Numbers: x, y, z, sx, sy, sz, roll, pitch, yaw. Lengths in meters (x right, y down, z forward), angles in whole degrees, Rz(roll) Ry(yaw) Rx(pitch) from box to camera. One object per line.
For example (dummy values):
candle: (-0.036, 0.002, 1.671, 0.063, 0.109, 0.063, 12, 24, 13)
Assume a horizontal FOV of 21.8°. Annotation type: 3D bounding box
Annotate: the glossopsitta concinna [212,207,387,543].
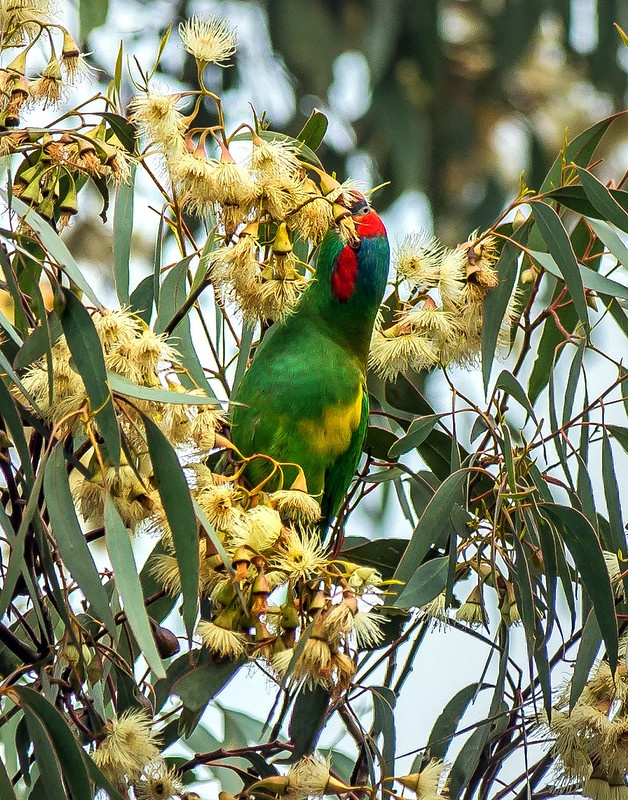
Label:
glossopsitta concinna: (0.016, 0.021, 2.011, 0.104, 0.490, 0.209, 10, -3, 12)
